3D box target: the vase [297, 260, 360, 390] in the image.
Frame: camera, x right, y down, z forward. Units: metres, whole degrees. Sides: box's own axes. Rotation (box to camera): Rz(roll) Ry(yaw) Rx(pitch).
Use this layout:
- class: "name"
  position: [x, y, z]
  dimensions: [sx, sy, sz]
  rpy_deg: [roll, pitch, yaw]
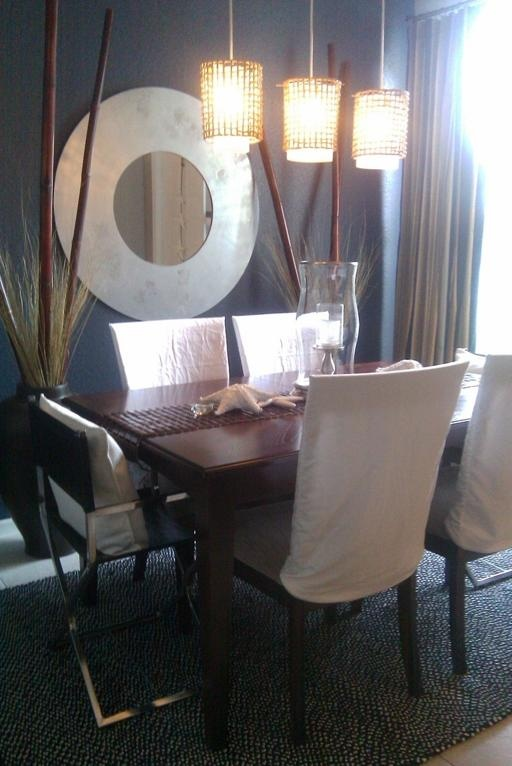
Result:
- class: "vase"
  position: [0.219, -0.264, 1.648]
  dimensions: [0.115, 0.302, 0.152]
  rpy_deg: [11, 42, 24]
